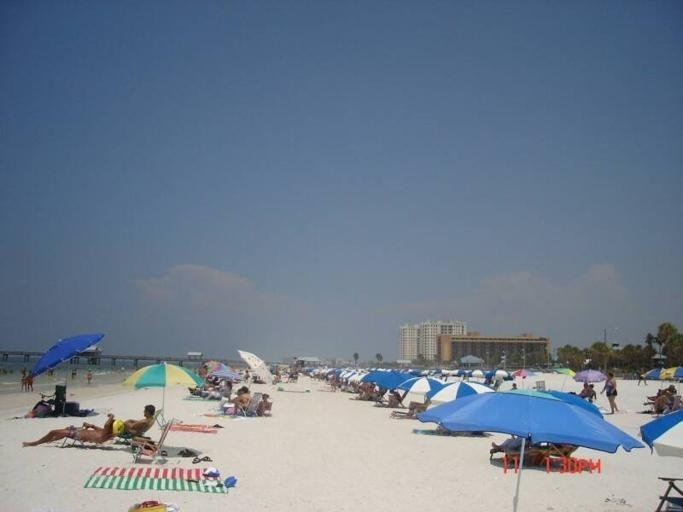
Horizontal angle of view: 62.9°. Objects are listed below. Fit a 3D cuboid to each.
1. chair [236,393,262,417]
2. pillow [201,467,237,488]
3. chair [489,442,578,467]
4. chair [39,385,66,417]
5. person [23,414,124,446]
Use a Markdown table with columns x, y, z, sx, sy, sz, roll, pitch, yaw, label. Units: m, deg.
| x | y | z | sx | sy | sz | roll | pitch | yaw | label |
| --- | --- | --- | --- | --- | --- | --- | --- | --- | --- |
| -4.325 | 6.698 | 25.130 | 0.966 | 1.362 | 0.990 | -11 | -18 | 35 | chair |
| -2.876 | 5.234 | 13.217 | 0.784 | 0.358 | 1.158 | 15 | -20 | -41 | pillow |
| 5.646 | 5.699 | 16.299 | 1.670 | 0.675 | 1.359 | -1 | -7 | 9 | chair |
| -10.657 | 5.251 | 20.842 | 0.575 | 0.939 | 0.579 | -2 | 0 | 13 | chair |
| -7.444 | 5.008 | 15.830 | 2.560 | 1.003 | 1.239 | 0 | -13 | -1 | person |
